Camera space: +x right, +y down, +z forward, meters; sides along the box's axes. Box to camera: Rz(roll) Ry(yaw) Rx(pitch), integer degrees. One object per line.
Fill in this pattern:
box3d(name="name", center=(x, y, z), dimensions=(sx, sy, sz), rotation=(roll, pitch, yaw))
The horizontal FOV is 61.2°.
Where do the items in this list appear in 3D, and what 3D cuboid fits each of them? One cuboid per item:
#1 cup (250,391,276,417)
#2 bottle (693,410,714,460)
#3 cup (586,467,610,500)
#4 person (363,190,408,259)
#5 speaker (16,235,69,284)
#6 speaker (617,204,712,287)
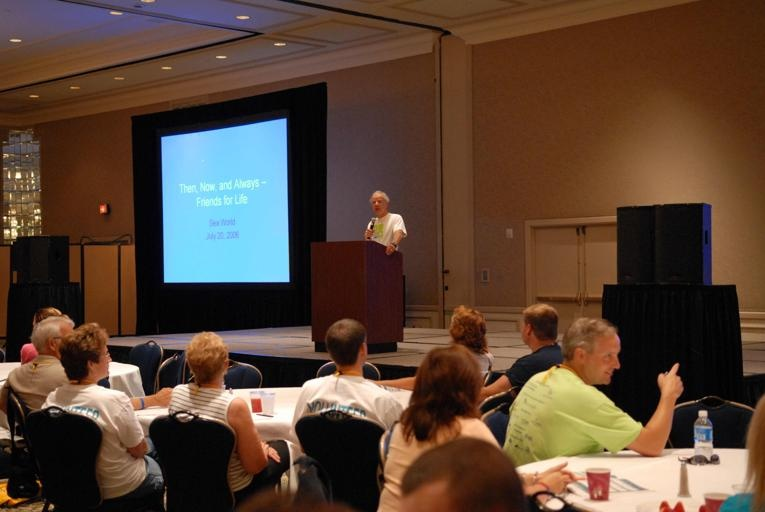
box3d(name="cup", center=(-0.765, 0.946, 4.135), dimensions=(0.146, 0.115, 0.119), rotation=(-5, -7, 43))
box3d(name="bottle", center=(1.577, 0.870, 3.201), dimensions=(0.083, 0.228, 0.159), rotation=(-1, -1, 26))
box3d(name="cup", center=(0.928, 0.978, 2.800), dimensions=(0.112, 0.123, 0.117), rotation=(-1, -13, 0))
box3d(name="person", center=(0.028, -0.393, 7.393), dimensions=(0.410, 0.779, 1.230), rotation=(0, -2, 0))
box3d(name="speaker", center=(-4.793, 0.046, 9.099), dimensions=(0.681, 0.660, 0.337), rotation=(0, -1, -24))
box3d(name="speaker", center=(2.222, -0.092, 5.201), dimensions=(0.647, 0.636, 0.194), rotation=(-1, -1, 15))
